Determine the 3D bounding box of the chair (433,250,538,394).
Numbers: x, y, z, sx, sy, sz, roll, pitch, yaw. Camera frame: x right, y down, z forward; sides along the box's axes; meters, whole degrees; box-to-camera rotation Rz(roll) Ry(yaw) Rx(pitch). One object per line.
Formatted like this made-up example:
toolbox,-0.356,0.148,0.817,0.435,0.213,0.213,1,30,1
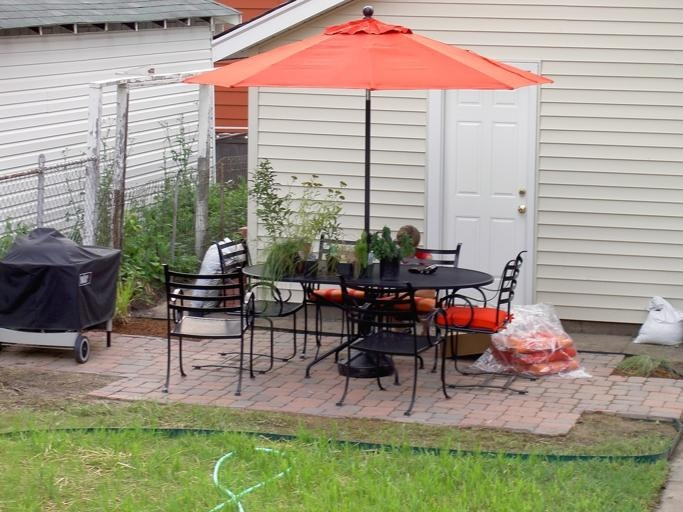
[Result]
chair,1.399,0.625,6.914,1.274,0.993,0.914,-2,-7,-7
